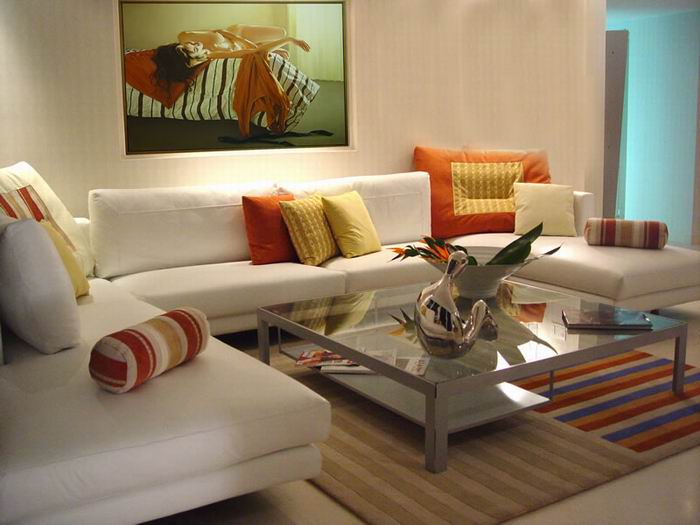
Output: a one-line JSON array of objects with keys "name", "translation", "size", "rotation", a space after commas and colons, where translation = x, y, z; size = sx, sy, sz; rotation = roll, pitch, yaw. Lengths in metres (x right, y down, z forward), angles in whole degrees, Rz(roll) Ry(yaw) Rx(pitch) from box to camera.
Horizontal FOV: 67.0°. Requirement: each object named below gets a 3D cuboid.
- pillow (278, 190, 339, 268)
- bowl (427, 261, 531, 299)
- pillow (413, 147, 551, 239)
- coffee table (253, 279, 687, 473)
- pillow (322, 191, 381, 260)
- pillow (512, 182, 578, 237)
[{"name": "pillow", "translation": [-0.299, -0.221, 3.752], "size": [0.258, 0.392, 0.493], "rotation": [14, 21, 31]}, {"name": "bowl", "translation": [0.660, 0.073, 2.852], "size": [0.537, 0.178, 0.531], "rotation": [-1, 2, 0]}, {"name": "pillow", "translation": [1.123, -0.560, 4.488], "size": [0.966, 0.594, 0.269], "rotation": [-1, -26, -2]}, {"name": "coffee table", "translation": [0.663, 0.379, 2.393], "size": [1.143, 0.265, 1.161], "rotation": [-8, 13, -36]}, {"name": "pillow", "translation": [-0.007, -0.268, 3.914], "size": [0.263, 0.400, 0.500], "rotation": [9, 18, 35]}, {"name": "pillow", "translation": [1.577, -0.418, 4.248], "size": [0.592, 0.494, 0.205], "rotation": [1, -21, 5]}]
